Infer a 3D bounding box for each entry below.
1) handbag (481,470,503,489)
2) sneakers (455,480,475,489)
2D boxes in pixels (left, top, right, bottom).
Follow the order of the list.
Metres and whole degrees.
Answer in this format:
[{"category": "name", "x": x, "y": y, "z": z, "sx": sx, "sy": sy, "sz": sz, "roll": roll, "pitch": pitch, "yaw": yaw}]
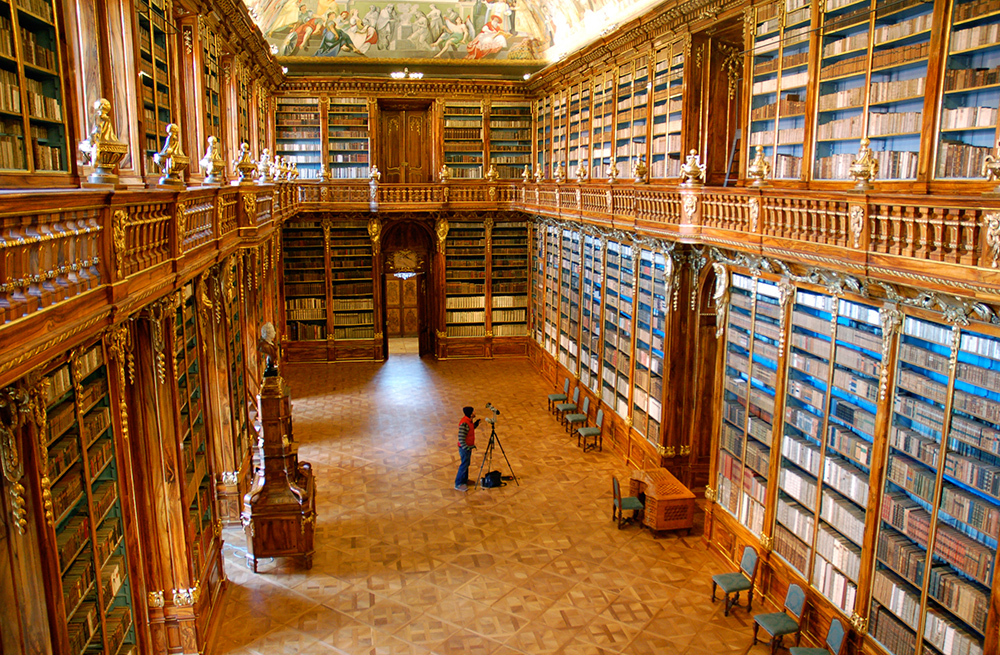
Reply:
[{"category": "handbag", "x": -0.148, "y": 2.846, "z": 12.843, "sx": 0.329, "sy": 0.330, "sz": 0.252, "roll": 3, "pitch": 1, "yaw": -5}, {"category": "sneakers", "x": -0.666, "y": 2.946, "z": 12.875, "sx": 0.370, "sy": 0.177, "sz": 0.138, "roll": 1, "pitch": 7, "yaw": -28}]
